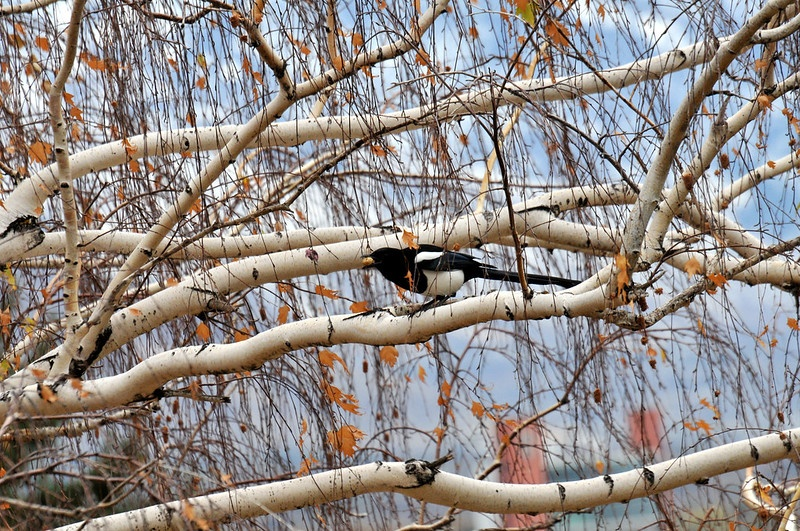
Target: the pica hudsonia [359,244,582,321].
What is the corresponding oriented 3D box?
[{"bbox_3d":[0.394,0.099,8.231,1.300,0.331,0.463,-4,-95,-7],"label":"pica hudsonia"}]
